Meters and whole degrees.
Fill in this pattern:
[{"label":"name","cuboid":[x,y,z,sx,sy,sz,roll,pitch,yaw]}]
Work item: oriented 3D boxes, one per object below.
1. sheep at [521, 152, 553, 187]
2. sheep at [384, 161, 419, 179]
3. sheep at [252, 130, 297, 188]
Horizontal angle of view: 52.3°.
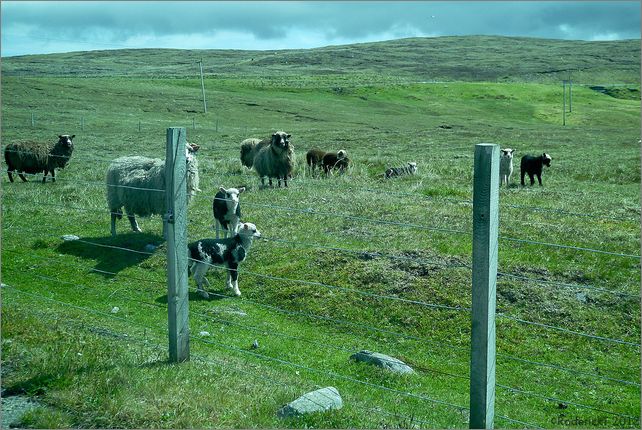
[{"label":"sheep","cuboid":[9.737,-2.081,29.860,1.155,1.474,1.247,6,14,27]},{"label":"sheep","cuboid":[3.699,-2.041,30.289,1.783,0.916,0.684,-11,25,-21]},{"label":"sheep","cuboid":[-1.994,-2.468,28.431,1.400,2.355,2.563,-8,15,-30]}]
